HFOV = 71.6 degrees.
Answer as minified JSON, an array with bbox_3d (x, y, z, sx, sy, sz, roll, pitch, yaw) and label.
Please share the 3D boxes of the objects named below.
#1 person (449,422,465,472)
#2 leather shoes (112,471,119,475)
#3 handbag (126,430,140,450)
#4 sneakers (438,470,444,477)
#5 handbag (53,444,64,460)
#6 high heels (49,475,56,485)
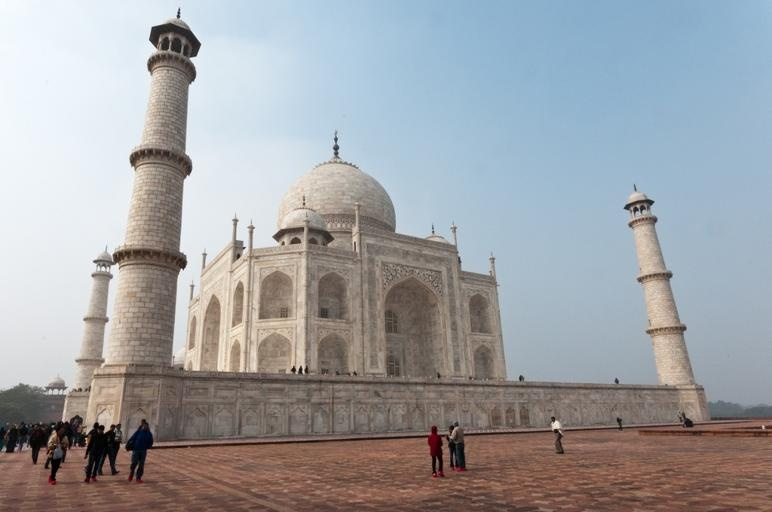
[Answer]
[{"bbox_3d":[1.723,4.569,12.867,0.327,1.083,0.561,-6,-19,4],"label":"person"},{"bbox_3d":[-6.444,5.150,12.721,0.156,0.102,0.051,-12,-20,12],"label":"leather shoes"},{"bbox_3d":[-5.684,4.134,12.013,0.220,0.396,0.503,4,-21,-23],"label":"handbag"},{"bbox_3d":[1.251,4.856,11.940,0.153,0.108,0.353,-6,-19,4],"label":"sneakers"},{"bbox_3d":[-7.267,4.363,11.907,0.151,0.336,0.348,-3,-19,-4],"label":"handbag"},{"bbox_3d":[-7.442,4.990,11.926,0.328,0.132,0.105,-5,-11,33],"label":"high heels"}]
